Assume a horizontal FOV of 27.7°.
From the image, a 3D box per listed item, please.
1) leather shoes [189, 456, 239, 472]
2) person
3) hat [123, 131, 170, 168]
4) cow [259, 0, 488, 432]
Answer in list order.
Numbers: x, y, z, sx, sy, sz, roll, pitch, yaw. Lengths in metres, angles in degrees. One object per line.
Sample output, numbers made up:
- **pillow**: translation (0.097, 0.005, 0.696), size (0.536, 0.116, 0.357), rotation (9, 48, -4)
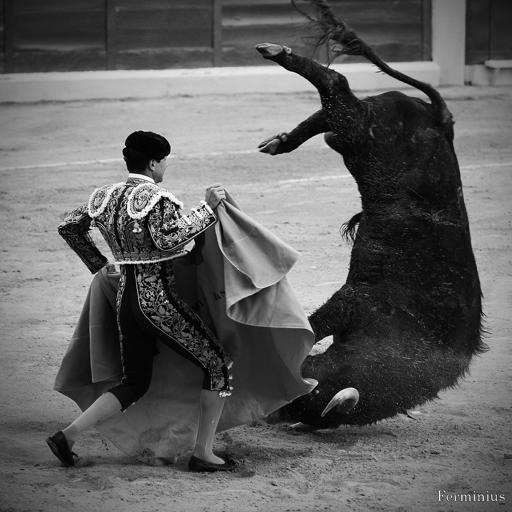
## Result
- **leather shoes**: translation (-0.173, 0.793, 3.981), size (0.206, 0.054, 0.063), rotation (-1, 4, -7)
- **person**: translation (-0.425, 0.164, 4.034), size (0.715, 1.309, 0.564), rotation (2, 14, -7)
- **hat**: translation (-0.449, -0.409, 3.915), size (0.223, 0.129, 0.171), rotation (-6, 5, -28)
- **cow**: translation (0.513, -0.184, 4.500), size (0.882, 1.810, 0.856), rotation (11, 15, 28)
